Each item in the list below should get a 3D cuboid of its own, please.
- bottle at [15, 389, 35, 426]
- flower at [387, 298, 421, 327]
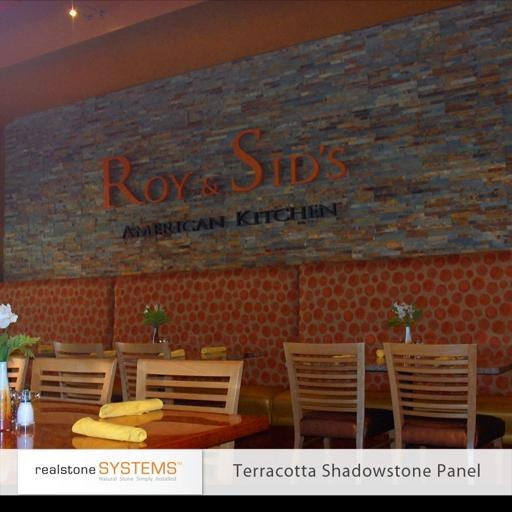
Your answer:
[{"bbox_3d":[-0.688,0.454,1.444,0.051,0.103,0.069,6,-15,-25],"label":"bottle"},{"bbox_3d":[1.013,0.403,3.331,0.192,0.154,0.182,-9,-15,31],"label":"flower"}]
